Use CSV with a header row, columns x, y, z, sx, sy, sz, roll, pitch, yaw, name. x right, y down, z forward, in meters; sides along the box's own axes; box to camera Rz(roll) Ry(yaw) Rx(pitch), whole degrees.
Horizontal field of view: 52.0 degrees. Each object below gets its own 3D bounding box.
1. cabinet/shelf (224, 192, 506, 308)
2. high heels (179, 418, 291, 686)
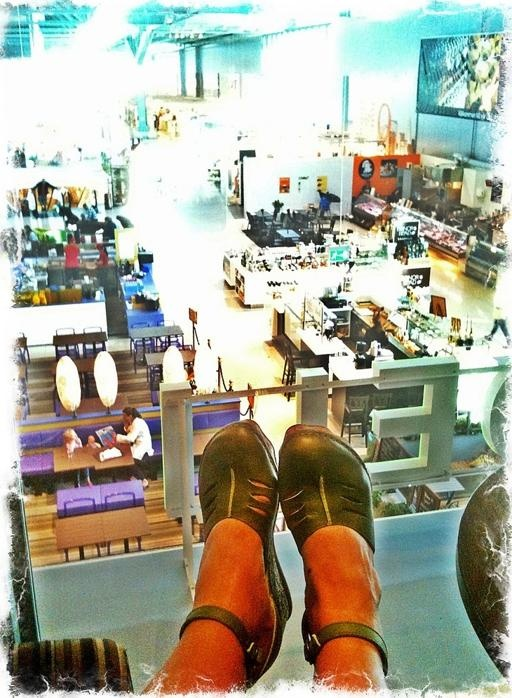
x,y,z,sx,sy,sz,roll,pitch,yaw,name
1.582,-1.725,9.281,4.341,2.154,1.273,-15,6,-12,cabinet/shelf
-0.023,0.327,0.970,0.132,0.478,0.174,-9,-18,24,high heels
